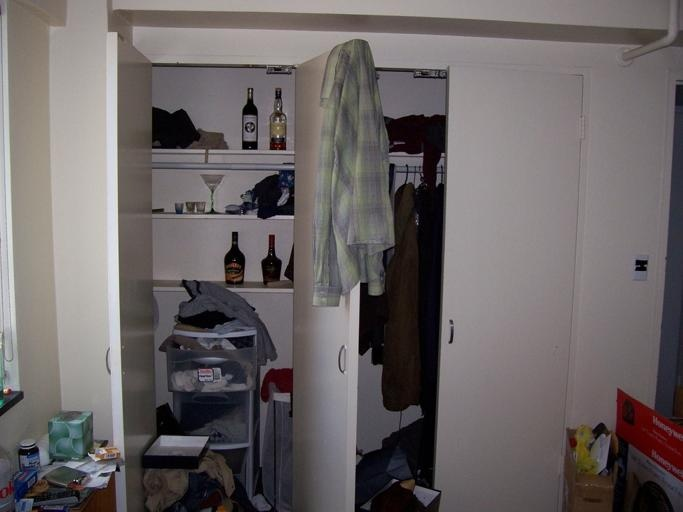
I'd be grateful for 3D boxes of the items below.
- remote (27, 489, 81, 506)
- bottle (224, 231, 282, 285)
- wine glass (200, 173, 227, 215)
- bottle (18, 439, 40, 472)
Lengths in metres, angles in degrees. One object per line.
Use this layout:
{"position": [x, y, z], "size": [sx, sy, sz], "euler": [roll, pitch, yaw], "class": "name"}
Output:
{"position": [-1.247, 1.063, 2.568], "size": [0.095, 0.025, 0.103], "euler": [2, 1, -4], "class": "remote"}
{"position": [-0.578, 0.012, 3.764], "size": [0.295, 0.318, 0.121], "euler": [0, 0, -20], "class": "bottle"}
{"position": [-0.806, -0.384, 3.653], "size": [0.190, 0.244, 0.198], "euler": [5, 7, 22], "class": "wine glass"}
{"position": [-1.445, 0.924, 2.706], "size": [0.089, 0.087, 0.108], "euler": [-5, 4, -23], "class": "bottle"}
